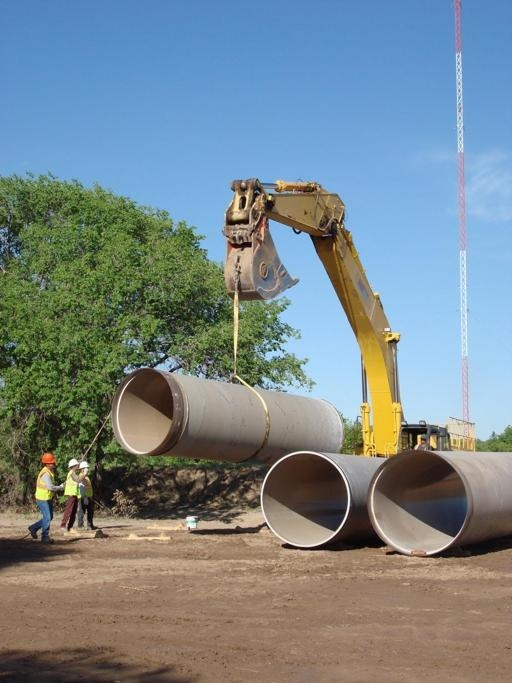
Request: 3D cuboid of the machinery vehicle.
[{"bbox_3d":[1.613,0.116,14.189,1.645,5.524,6.311,-6,-5,36],"label":"machinery vehicle"}]
